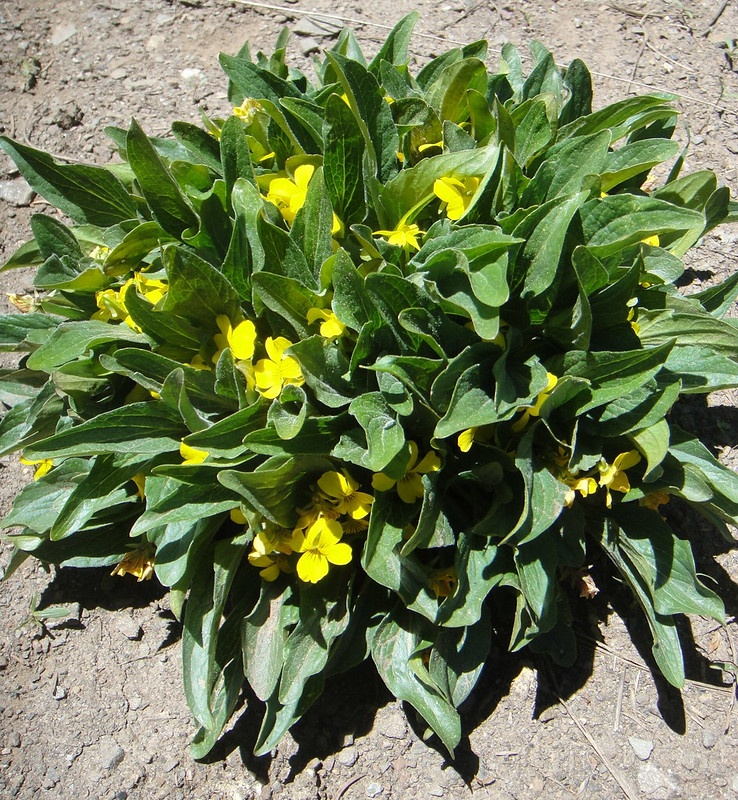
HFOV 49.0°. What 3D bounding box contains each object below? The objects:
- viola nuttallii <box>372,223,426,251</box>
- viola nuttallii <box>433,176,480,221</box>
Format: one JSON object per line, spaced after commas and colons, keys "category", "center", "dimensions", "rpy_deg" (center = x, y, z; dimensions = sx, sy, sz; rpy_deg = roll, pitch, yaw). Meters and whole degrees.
{"category": "viola nuttallii", "center": [0.090, -0.499, 2.470], "dimensions": [0.152, 0.059, 0.119], "rpy_deg": [-7, 46, -7]}
{"category": "viola nuttallii", "center": [0.256, -0.634, 2.494], "dimensions": [0.128, 0.069, 0.169], "rpy_deg": [16, 66, 7]}
